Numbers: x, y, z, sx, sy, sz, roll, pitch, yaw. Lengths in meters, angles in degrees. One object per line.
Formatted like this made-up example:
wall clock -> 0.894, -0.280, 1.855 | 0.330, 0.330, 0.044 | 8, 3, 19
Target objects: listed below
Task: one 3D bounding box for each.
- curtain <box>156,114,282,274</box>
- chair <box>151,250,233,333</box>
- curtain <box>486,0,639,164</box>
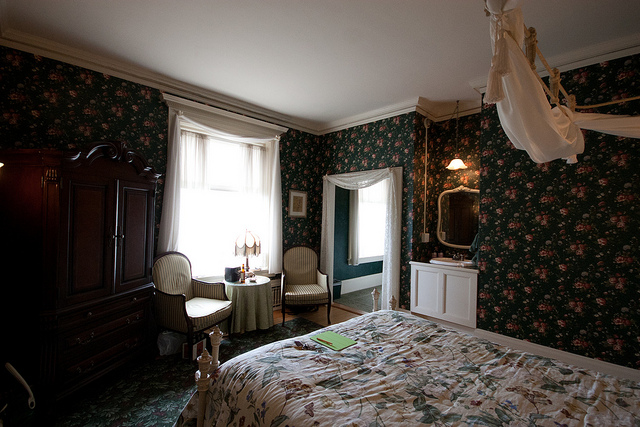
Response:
curtain -> -1.522, -0.290, 5.842 | 0.204, 2.517, 2.169 | -9, -14, 39
chair -> -1.655, 1.030, 5.191 | 0.977, 1.074, 0.974 | -3, 5, -29
curtain -> 2.051, -0.965, 3.721 | 1.400, 0.951, 1.879 | -2, 4, -45
